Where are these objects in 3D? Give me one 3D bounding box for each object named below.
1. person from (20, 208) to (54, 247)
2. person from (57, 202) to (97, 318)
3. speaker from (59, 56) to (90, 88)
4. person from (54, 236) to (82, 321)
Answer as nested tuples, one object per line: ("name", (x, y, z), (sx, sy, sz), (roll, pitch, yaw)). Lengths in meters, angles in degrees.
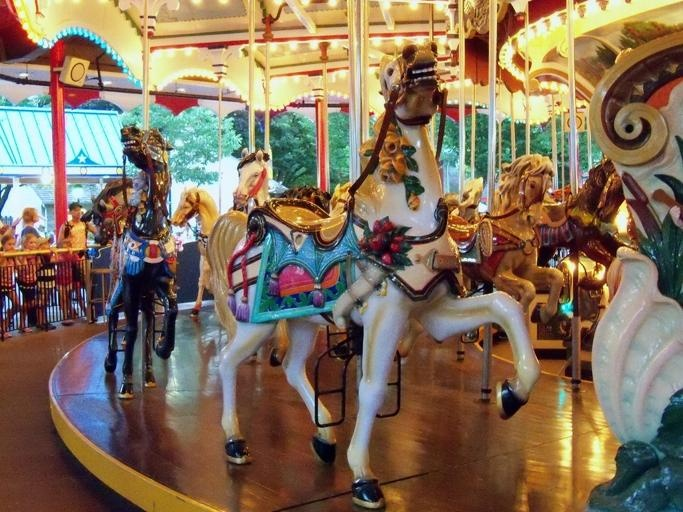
("person", (-4.959, -0.378, 10.617), (0.448, 0.777, 0.450), (0, -1, -26))
("person", (-4.223, -0.008, 10.617), (0.522, 1.700, 0.420), (-9, 29, -27))
("speaker", (-4.654, -3.239, 11.383), (0.416, 0.413, 0.710), (-3, 5, -27))
("person", (-4.269, 0.454, 10.227), (0.161, 1.129, 0.436), (1, 4, 20))
